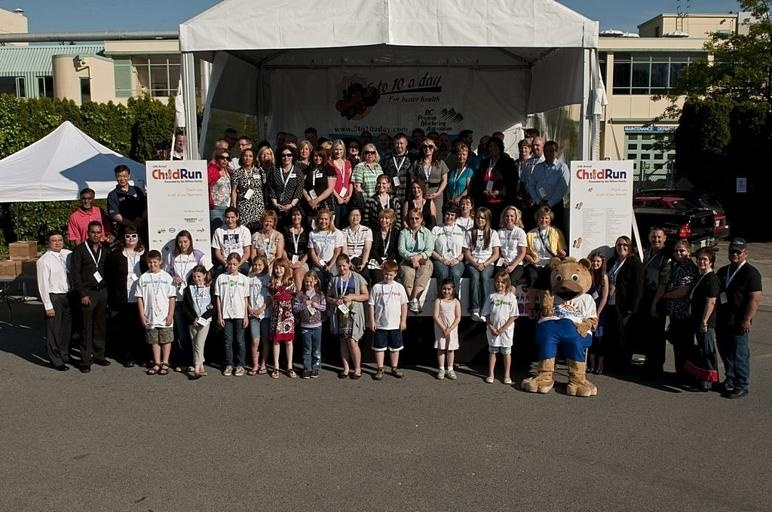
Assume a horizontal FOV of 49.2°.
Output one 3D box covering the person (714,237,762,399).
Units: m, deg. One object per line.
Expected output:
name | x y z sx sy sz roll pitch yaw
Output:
person | 5.677 0.975 13.569 0.617 2.459 0.718 0 6 5

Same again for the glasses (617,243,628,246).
glasses | 4.034 -0.174 14.327 0.168 0.045 0.040 4 8 30

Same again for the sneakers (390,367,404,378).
sneakers | 0.208 1.946 14.209 0.179 0.147 0.288 -3 8 -23

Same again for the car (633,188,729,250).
car | 8.059 -0.998 23.090 1.331 0.986 2.532 -10 15 -39

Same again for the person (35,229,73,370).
person | -5.623 0.763 14.544 0.626 2.298 0.533 6 9 42

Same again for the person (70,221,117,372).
person | -5.038 0.678 14.559 0.639 2.478 0.588 -5 8 -36

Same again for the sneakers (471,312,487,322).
sneakers | 1.599 1.054 14.366 0.103 0.145 0.353 -6 9 -41

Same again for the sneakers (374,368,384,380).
sneakers | -0.110 1.955 14.160 0.177 0.155 0.284 0 7 0

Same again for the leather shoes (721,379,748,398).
leather shoes | 5.554 2.133 13.427 0.495 0.195 0.212 18 -11 -22

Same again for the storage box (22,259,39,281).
storage box | -8.260 0.311 19.586 0.473 0.499 0.349 1 1 -4

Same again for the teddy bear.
teddy bear | 2.949 1.129 13.860 1.044 2.091 1.010 1 7 11
